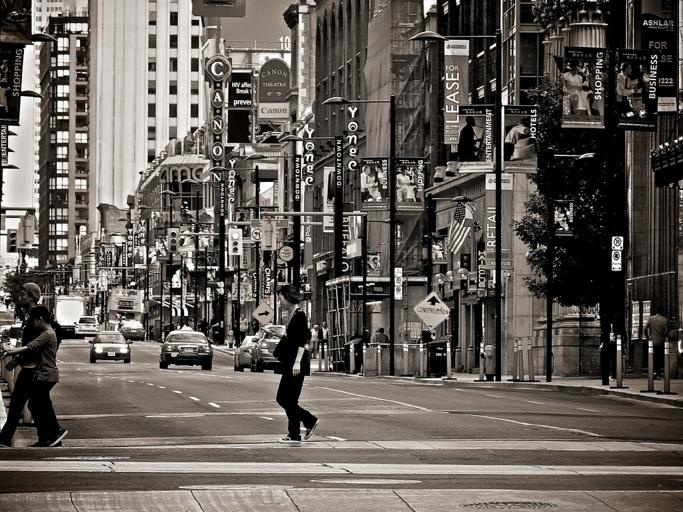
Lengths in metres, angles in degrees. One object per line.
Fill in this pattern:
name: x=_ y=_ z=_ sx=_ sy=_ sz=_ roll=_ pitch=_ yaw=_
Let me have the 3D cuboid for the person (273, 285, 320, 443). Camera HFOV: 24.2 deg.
person: x=-0.838 y=2.061 z=30.121 sx=0.856 sy=2.801 sz=0.921 roll=0 pitch=-1 yaw=-16

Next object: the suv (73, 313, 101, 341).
suv: x=-20.507 y=5.790 z=127.576 sx=1.948 sy=1.935 sz=4.305 roll=0 pitch=-6 yaw=-11

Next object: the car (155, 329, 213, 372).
car: x=-6.473 y=3.901 z=66.074 sx=2.013 sy=1.609 sz=2.886 roll=1 pitch=-4 yaw=-17
